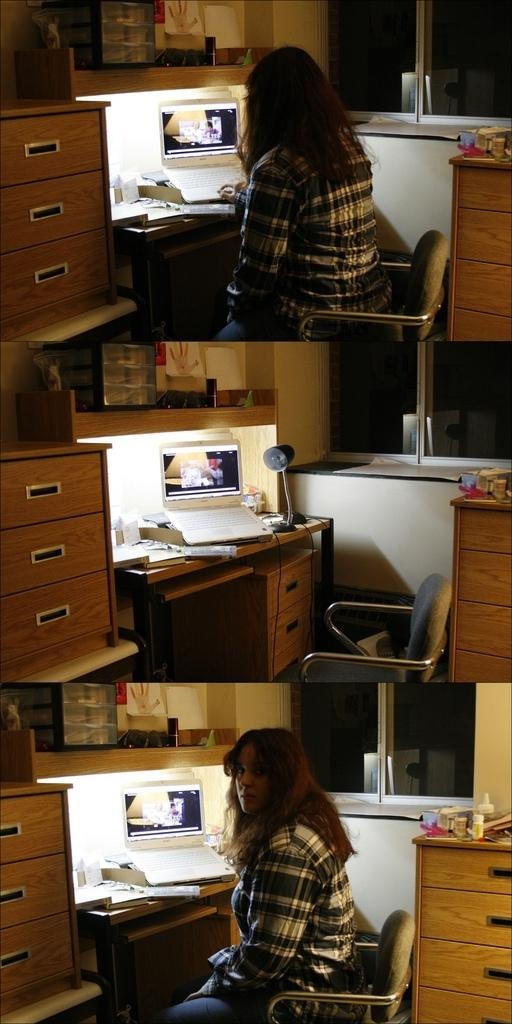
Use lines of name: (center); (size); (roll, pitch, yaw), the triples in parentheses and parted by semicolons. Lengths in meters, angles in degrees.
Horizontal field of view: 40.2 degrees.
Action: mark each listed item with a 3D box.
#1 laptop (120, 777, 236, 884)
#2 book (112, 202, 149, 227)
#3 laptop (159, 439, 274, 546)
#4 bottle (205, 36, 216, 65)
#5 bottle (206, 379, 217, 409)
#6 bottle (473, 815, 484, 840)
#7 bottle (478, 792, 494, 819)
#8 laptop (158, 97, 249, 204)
laptop: (-0.200, 0.735, 1.618); (0.178, 0.194, 0.216); (-1, 9, -19)
book: (-0.240, -0.573, 1.343); (0.096, 0.054, 0.013); (1, 7, 37)
laptop: (-0.089, -0.070, 1.471); (0.178, 0.212, 0.211); (-8, 25, -23)
bottle: (-0.083, -0.835, 1.268); (0.020, 0.057, 0.013); (-2, 5, 12)
bottle: (-0.092, -0.244, 1.438); (0.020, 0.057, 0.026); (-4, 6, -10)
bottle: (0.483, 0.683, 1.521); (0.026, 0.050, 0.019); (-2, 6, 8)
bottle: (0.505, 0.645, 1.539); (0.037, 0.051, 0.023); (-2, 6, 10)
laptop: (-0.104, -0.673, 1.279); (0.148, 0.139, 0.162); (-1, 39, -2)
